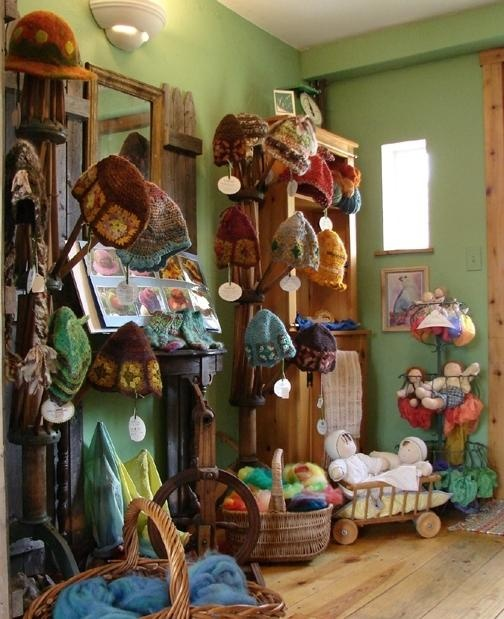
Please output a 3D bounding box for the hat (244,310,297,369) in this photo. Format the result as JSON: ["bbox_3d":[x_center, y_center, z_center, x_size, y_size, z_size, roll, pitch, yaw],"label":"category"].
[{"bbox_3d":[0.070,0.132,2.771,0.231,0.236,0.094,-7,-1,1],"label":"hat"}]

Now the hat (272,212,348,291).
[{"bbox_3d":[0.275,-0.283,2.941,0.157,0.345,0.512,-3,-5,29],"label":"hat"}]

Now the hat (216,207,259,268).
[{"bbox_3d":[-0.073,-0.324,2.848,0.155,0.281,0.207,3,-6,-38],"label":"hat"}]

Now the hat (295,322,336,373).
[{"bbox_3d":[0.292,0.172,2.950,0.218,0.220,0.231,0,-10,1],"label":"hat"}]

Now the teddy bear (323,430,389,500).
[{"bbox_3d":[0.507,0.767,3.123,0.296,0.308,0.495,-2,-5,15],"label":"teddy bear"}]

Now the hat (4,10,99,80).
[{"bbox_3d":[-0.561,-0.728,1.762,0.226,0.109,0.219,8,9,23],"label":"hat"}]

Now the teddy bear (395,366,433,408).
[{"bbox_3d":[0.956,0.454,3.711,0.217,0.068,0.202,13,-43,-6],"label":"teddy bear"}]

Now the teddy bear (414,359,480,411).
[{"bbox_3d":[1.136,0.446,3.622,0.158,0.211,0.271,26,-15,-23],"label":"teddy bear"}]

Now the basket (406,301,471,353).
[{"bbox_3d":[1.098,0.085,3.648,0.367,0.268,0.343,-2,-5,18],"label":"basket"}]

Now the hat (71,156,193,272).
[{"bbox_3d":[-0.349,-0.274,1.850,0.247,0.273,0.396,-2,-5,11],"label":"hat"}]

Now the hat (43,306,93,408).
[{"bbox_3d":[-0.536,0.136,1.853,0.090,0.284,0.188,-1,-5,5],"label":"hat"}]

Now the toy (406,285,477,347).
[{"bbox_3d":[1.116,0.047,3.685,0.350,0.174,0.369,3,14,11],"label":"toy"}]

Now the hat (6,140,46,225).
[{"bbox_3d":[-0.619,-0.357,1.759,0.142,0.211,0.051,2,8,13],"label":"hat"}]

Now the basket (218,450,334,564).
[{"bbox_3d":[0.143,0.858,2.741,0.610,0.528,0.420,-1,-6,0],"label":"basket"}]
